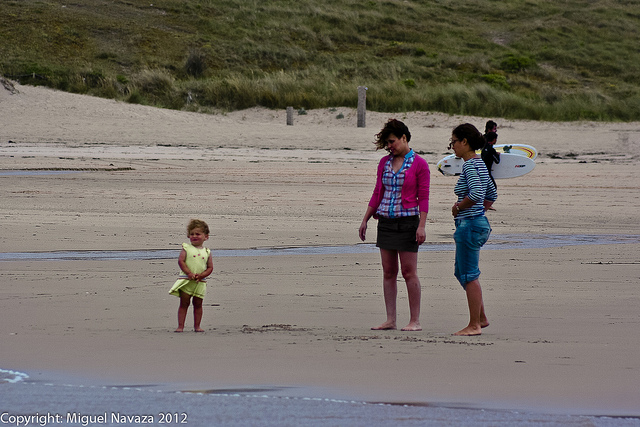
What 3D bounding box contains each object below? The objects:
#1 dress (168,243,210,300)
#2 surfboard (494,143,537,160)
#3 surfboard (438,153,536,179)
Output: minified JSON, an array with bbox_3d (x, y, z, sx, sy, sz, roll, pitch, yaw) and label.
[{"bbox_3d":[-4.099,1.770,41.685,1.165,1.646,0.811,0,17,-2],"label":"dress"},{"bbox_3d":[7.191,-2.413,49.488,2.292,0.303,0.614,4,51,-40],"label":"surfboard"},{"bbox_3d":[5.848,-1.663,46.421,2.798,0.646,1.321,1,12,-1],"label":"surfboard"}]
